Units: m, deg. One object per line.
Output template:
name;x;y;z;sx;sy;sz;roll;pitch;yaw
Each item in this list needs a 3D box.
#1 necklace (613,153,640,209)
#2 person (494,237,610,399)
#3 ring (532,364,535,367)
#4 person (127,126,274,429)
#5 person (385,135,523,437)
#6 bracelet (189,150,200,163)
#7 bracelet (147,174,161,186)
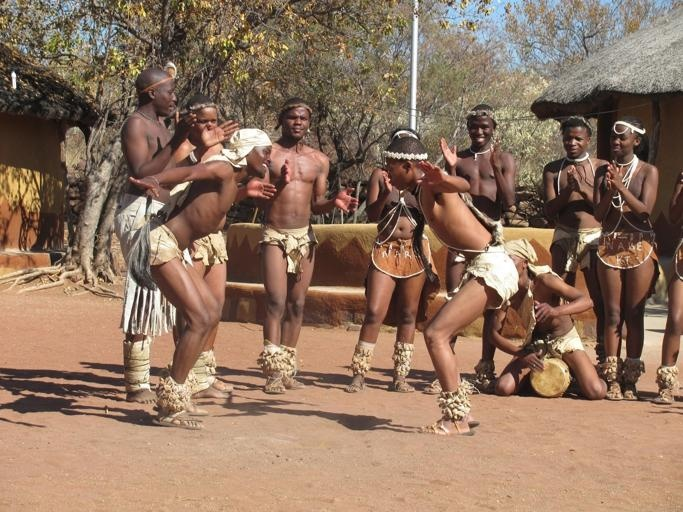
necklace;2.623;-0.692;6.450;0.074;0.458;0.278;21;-23;-20
person;1.911;0.588;6.342;1.047;1.547;0.912;-16;-21;42
ring;1.683;0.959;6.153;0.024;0.024;0.007;12;6;6
person;-1.060;0.091;5.156;0.973;2.083;0.466;0;4;-19
person;0.768;0.215;5.092;0.987;2.194;0.688;2;3;14
bracelet;-1.167;-0.781;5.499;0.026;0.077;0.084;-18;-39;0
bracelet;-1.303;-0.524;4.843;0.027;0.073;0.063;-28;0;2
